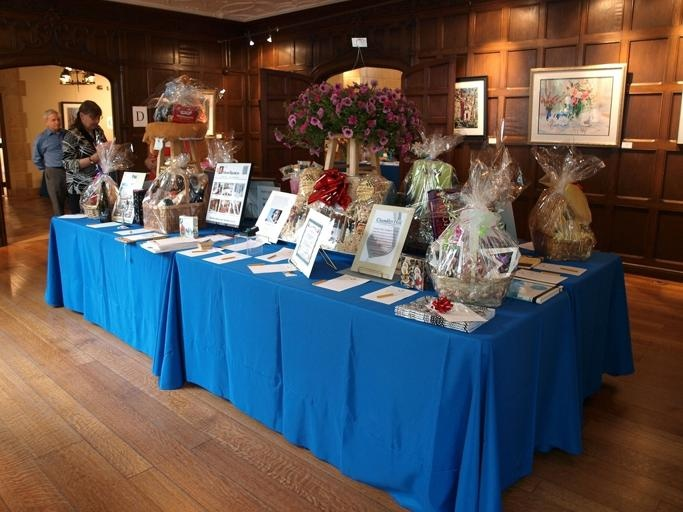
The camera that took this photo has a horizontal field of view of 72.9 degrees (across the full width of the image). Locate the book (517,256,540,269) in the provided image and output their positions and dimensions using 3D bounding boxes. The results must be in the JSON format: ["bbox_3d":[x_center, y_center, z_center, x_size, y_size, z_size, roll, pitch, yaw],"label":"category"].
[{"bbox_3d":[1.114,0.031,2.740,0.096,0.022,0.097,14,24,37],"label":"book"}]

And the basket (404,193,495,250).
[{"bbox_3d":[0.557,-0.189,2.574,0.089,0.353,0.374,26,-18,-30],"label":"basket"}]

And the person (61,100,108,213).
[{"bbox_3d":[-2.976,-1.101,5.353,0.459,1.346,1.188,-9,18,-29],"label":"person"}]

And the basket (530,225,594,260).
[{"bbox_3d":[1.379,-0.081,2.850,0.253,0.167,0.251,-2,9,-32],"label":"basket"}]

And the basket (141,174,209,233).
[{"bbox_3d":[-1.309,-0.466,3.797,0.520,0.484,0.488,13,16,36],"label":"basket"}]

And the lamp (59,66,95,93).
[{"bbox_3d":[-7.180,-4.850,12.552,0.813,0.403,1.381,-7,17,-25],"label":"lamp"}]

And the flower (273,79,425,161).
[{"bbox_3d":[0.064,-0.864,3.105,0.662,0.380,0.674,7,16,2],"label":"flower"}]

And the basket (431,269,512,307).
[{"bbox_3d":[0.620,0.158,2.204,0.228,0.082,0.217,9,11,31],"label":"basket"}]

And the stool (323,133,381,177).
[{"bbox_3d":[0.040,-0.669,3.084,0.311,0.325,0.310,-8,15,-39],"label":"stool"}]

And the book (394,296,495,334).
[{"bbox_3d":[0.470,0.241,2.112,0.402,0.072,0.255,9,18,30],"label":"book"}]

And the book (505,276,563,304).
[{"bbox_3d":[0.984,0.167,2.367,0.217,0.055,0.278,13,20,39],"label":"book"}]
